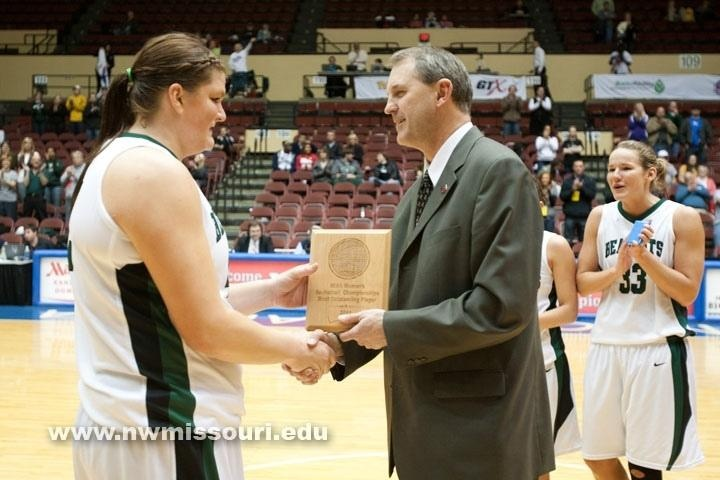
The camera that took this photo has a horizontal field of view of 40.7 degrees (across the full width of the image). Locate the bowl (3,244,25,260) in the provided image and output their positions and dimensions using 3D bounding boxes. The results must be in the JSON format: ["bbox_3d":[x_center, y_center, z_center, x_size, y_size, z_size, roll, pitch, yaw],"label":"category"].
[{"bbox_3d":[-5.644,0.184,15.868,0.317,0.337,0.206,2,-3,1],"label":"bowl"}]
